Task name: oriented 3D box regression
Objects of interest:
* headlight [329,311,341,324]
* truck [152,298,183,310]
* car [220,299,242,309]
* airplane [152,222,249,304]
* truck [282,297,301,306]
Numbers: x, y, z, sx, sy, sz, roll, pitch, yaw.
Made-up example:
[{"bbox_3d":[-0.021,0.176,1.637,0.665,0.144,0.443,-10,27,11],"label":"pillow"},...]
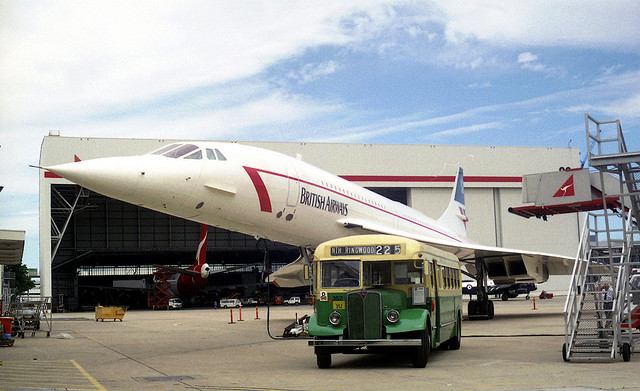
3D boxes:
[{"bbox_3d":[0.480,3.829,21.594,0.357,0.305,0.333,6,-9,3],"label":"headlight"},{"bbox_3d":[-13.893,9.758,62.171,2.863,0.955,1.169,-7,-8,33],"label":"truck"},{"bbox_3d":[-7.848,9.432,60.422,1.367,0.696,3.441,1,-8,-22],"label":"car"},{"bbox_3d":[-12.293,7.695,64.144,11.382,4.651,11.043,3,-4,-24],"label":"airplane"},{"bbox_3d":[-2.657,10.141,66.894,1.290,0.656,1.993,-4,-8,7],"label":"truck"}]
